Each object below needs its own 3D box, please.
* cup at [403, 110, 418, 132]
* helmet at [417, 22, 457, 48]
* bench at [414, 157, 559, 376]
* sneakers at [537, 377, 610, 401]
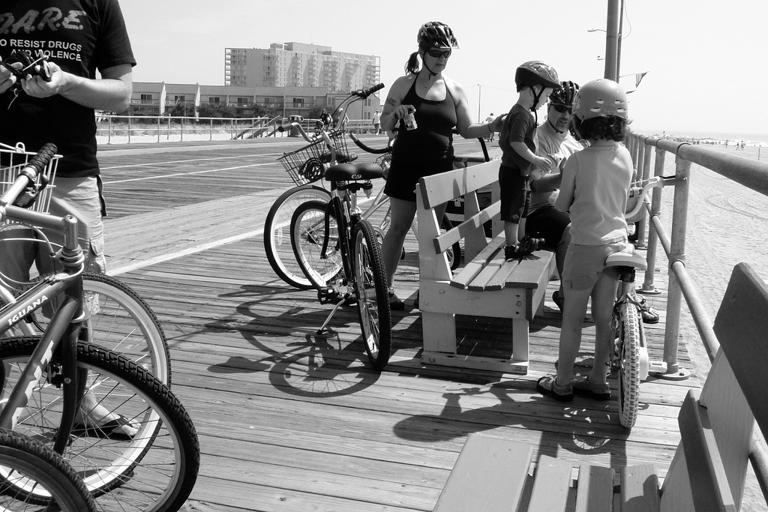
[{"bbox_3d":[0.226,-1.123,4.938,0.116,0.153,0.145,3,15,8],"label":"cup"},{"bbox_3d":[0.439,-1.812,4.844,0.297,0.206,0.200,5,15,13],"label":"helmet"},{"bbox_3d":[1.131,-0.081,5.278,0.929,1.416,2.308,3,15,25],"label":"bench"},{"bbox_3d":[1.282,0.837,3.933,0.410,0.191,0.195,-2,6,17],"label":"sneakers"}]
